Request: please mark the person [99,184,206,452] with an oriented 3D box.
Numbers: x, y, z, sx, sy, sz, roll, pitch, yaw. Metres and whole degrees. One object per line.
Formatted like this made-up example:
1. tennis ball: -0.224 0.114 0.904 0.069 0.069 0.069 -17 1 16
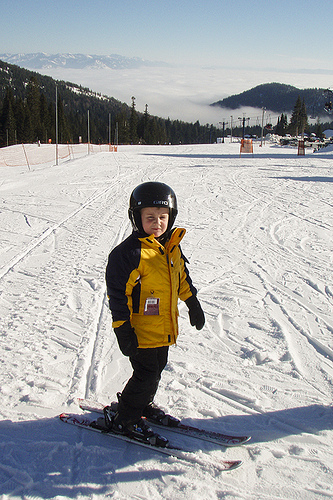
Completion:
1. person: -0.083 0.387 2.340 0.594 1.527 0.655 2 8 6
